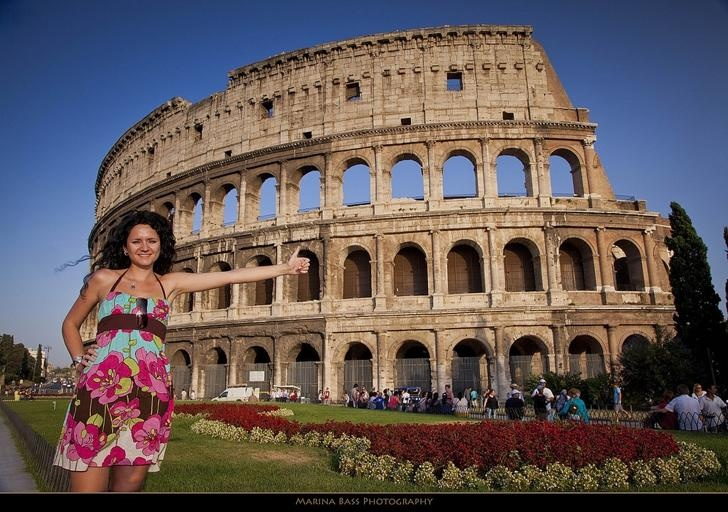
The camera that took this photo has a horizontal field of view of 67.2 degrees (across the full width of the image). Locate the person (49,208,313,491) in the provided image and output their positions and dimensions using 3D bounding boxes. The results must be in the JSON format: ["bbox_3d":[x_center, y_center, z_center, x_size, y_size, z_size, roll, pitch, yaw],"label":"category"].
[{"bbox_3d":[-2.458,1.007,5.996,1.548,2.960,0.599,5,-18,-16],"label":"person"}]

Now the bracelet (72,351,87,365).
[{"bbox_3d":[-2.977,1.103,5.779,0.116,0.133,0.087,-4,-2,23],"label":"bracelet"}]
